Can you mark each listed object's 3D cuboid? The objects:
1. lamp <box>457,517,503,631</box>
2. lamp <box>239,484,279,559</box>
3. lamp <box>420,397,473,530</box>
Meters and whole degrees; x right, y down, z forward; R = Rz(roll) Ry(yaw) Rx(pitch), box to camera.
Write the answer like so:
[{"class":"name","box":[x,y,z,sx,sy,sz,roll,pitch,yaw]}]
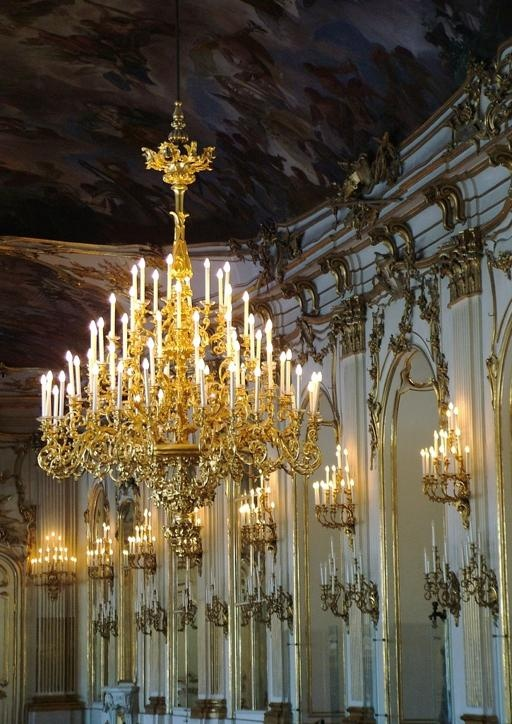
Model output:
[{"class":"lamp","box":[1.723,1.608,9.384,0.283,0.957,0.584,11,-26,-14]},{"class":"lamp","box":[0.053,1.847,14.198,0.214,0.768,0.887,4,-19,-16]},{"class":"lamp","box":[1.506,0.815,9.871,0.369,1.071,0.714,-3,-15,1]}]
